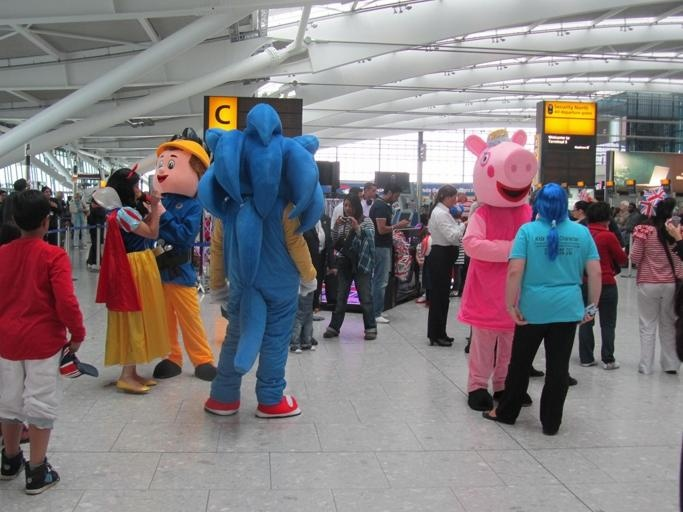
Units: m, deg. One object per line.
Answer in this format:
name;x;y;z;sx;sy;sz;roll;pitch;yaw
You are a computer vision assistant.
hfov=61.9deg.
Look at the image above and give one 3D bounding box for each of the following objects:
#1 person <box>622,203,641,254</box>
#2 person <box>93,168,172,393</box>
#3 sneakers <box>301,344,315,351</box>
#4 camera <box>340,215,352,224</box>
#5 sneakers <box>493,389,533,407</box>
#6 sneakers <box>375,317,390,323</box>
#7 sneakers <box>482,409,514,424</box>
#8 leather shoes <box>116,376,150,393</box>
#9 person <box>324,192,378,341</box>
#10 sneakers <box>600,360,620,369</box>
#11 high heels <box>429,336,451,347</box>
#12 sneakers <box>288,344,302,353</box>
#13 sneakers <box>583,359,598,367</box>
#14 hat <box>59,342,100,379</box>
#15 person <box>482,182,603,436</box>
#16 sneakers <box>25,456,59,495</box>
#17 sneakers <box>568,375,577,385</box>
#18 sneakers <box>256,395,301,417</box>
person;7.917;-0.794;15.963;0.441;1.462;0.479;-25;39;-20
person;-1.916;0.216;5.216;0.618;2.027;0.458;-3;7;-24
sneakers;-0.417;1.085;6.846;0.140;0.058;0.073;-2;0;4
camera;0.054;-0.474;7.298;0.118;0.119;0.070;-1;47;-5
sneakers;1.537;1.228;5.004;0.151;0.172;0.446;1;-9;-6
sneakers;0.611;0.954;8.590;0.163;0.066;0.090;-5;-6;42
sneakers;1.274;1.309;4.691;0.243;0.088;0.087;14;8;42
leather shoes;-1.902;1.156;5.194;0.257;0.104;0.129;-3;-1;14
person;0.127;0.135;7.455;0.678;1.892;0.426;0;7;2
sneakers;2.938;1.174;6.261;0.166;0.073;0.084;-4;10;-16
high heels;1.238;1.069;7.208;0.299;0.126;0.104;-4;1;2
sneakers;-0.543;1.087;6.674;0.058;0.074;0.171;4;-10;-27
sneakers;2.726;1.168;6.310;0.174;0.069;0.063;-3;2;-7
hat;-1.683;0.667;3.589;0.403;0.213;0.136;-4;-7;34
person;1.579;0.395;4.495;0.835;1.920;0.439;2;7;16
sneakers;-1.834;1.320;3.511;0.105;0.204;0.306;-4;-9;2
sneakers;2.286;1.229;5.689;0.059;0.117;0.126;2;19;30
sneakers;-0.505;1.210;4.653;0.295;0.129;0.169;-3;1;-15
